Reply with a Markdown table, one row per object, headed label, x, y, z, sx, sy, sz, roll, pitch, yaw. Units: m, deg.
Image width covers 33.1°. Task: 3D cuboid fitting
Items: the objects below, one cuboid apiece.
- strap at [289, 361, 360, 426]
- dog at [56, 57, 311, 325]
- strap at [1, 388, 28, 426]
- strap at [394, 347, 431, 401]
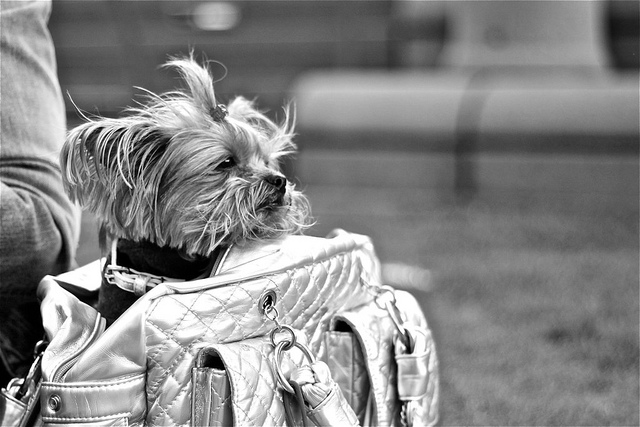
| label | x | y | z | sx | sy | sz | roll | pitch | yaw |
| --- | --- | --- | --- | --- | --- | --- | --- | --- | --- |
| strap | 0.002 | 0.454 | 2.690 | 0.133 | 0.174 | 0.073 | -25 | -9 | -32 |
| dog | -0.349 | 0.004 | 3.014 | 0.552 | 0.812 | 0.787 | 0 | 9 | 30 |
| strap | -0.769 | 0.479 | 2.694 | 0.073 | 0.068 | 0.061 | 29 | -4 | -24 |
| strap | 0.229 | 0.436 | 2.869 | 0.131 | 0.159 | 0.108 | -3 | -13 | 3 |
